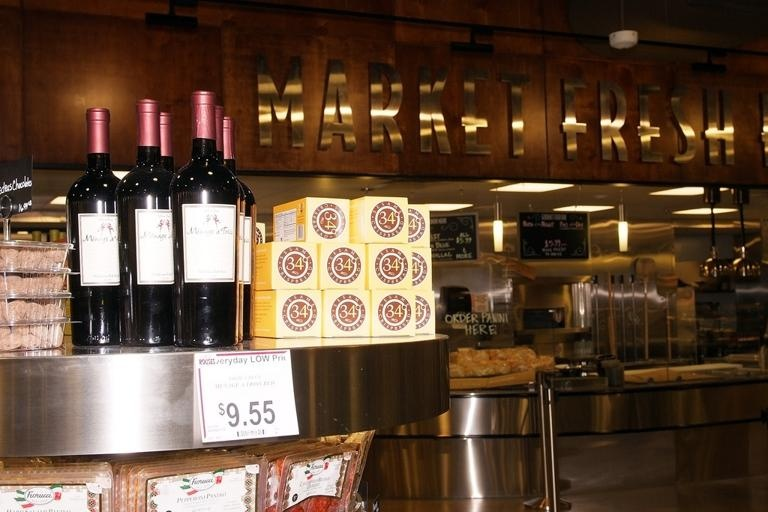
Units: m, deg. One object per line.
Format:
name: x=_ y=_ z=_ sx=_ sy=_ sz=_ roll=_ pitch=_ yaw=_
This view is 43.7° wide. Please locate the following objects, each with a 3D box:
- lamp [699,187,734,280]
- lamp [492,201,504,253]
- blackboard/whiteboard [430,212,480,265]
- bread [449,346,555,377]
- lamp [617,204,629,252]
lamp: x=3.182 y=-0.202 z=9.277 sx=0.272 sy=0.858 sz=0.252 roll=-3 pitch=-1 yaw=-7
lamp: x=1.060 y=-0.265 z=8.941 sx=0.117 sy=0.396 sz=0.112 roll=-3 pitch=-1 yaw=-9
blackboard/whiteboard: x=0.655 y=-0.154 z=8.789 sx=0.486 sy=0.439 sz=0.050 roll=-1 pitch=-7 yaw=2
bread: x=0.994 y=0.911 z=8.386 sx=0.950 sy=0.206 sz=0.522 roll=-3 pitch=-1 yaw=-8
lamp: x=2.292 y=-0.264 z=9.204 sx=0.122 sy=0.422 sz=0.087 roll=-3 pitch=-1 yaw=-6
